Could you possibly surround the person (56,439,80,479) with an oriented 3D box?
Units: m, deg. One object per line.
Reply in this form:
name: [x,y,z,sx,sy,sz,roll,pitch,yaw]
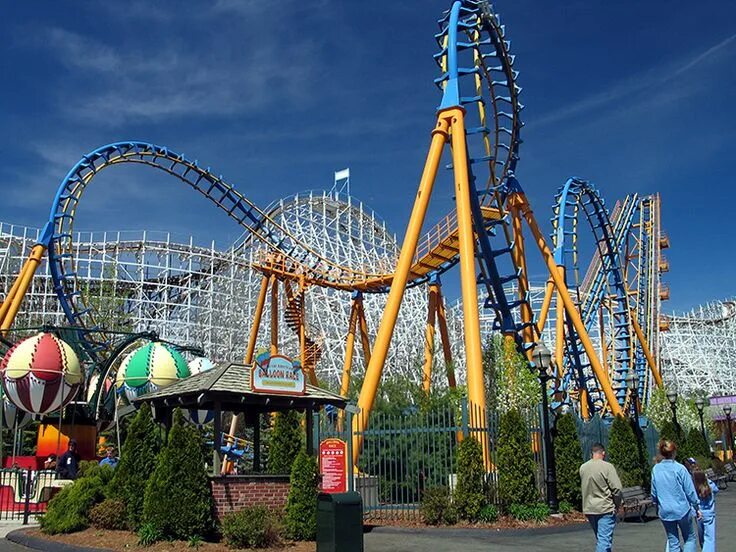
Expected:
person: [-7.613,4.642,18.029,0.515,0.978,1.643,7,-20,-22]
